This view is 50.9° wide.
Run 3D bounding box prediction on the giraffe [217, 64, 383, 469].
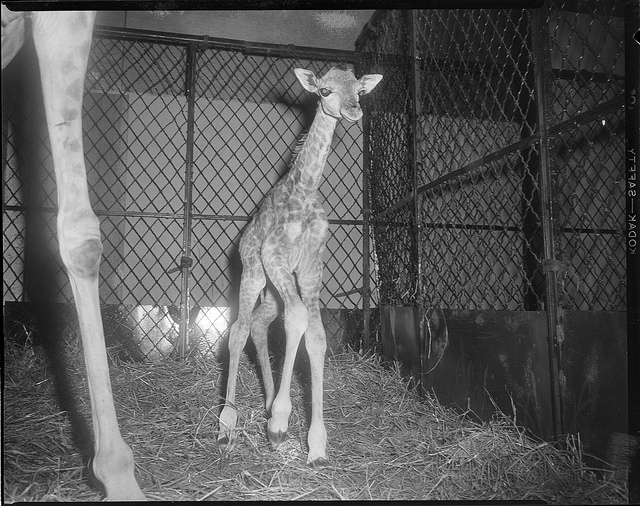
[{"bbox_3d":[-0.068,0.021,2.593,0.568,1.462,0.442,1,-1,4],"label":"giraffe"}]
